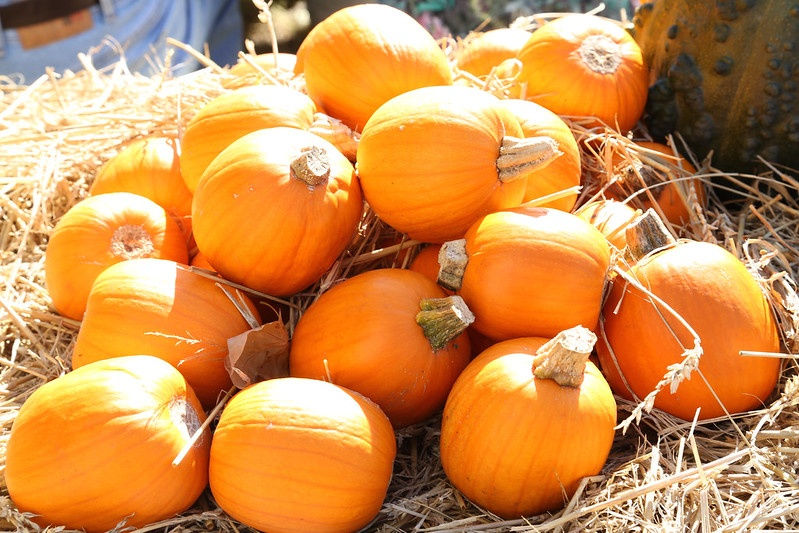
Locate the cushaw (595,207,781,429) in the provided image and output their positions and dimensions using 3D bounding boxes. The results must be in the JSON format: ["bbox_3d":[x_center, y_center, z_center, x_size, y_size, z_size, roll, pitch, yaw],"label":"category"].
[{"bbox_3d":[1.211,0.249,2.651,0.735,0.710,0.673,11,36,20],"label":"cushaw"}]

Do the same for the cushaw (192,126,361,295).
[{"bbox_3d":[-0.465,-0.259,2.915,0.664,0.636,0.650,33,21,-4],"label":"cushaw"}]

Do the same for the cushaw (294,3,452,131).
[{"bbox_3d":[-0.155,-0.922,3.047,0.528,0.372,0.663,49,23,10],"label":"cushaw"}]

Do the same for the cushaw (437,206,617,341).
[{"bbox_3d":[0.511,0.034,2.686,0.652,0.453,0.410,10,36,19],"label":"cushaw"}]

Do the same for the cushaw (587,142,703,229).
[{"bbox_3d":[1.268,-0.403,3.368,0.407,0.263,0.474,-7,52,-52],"label":"cushaw"}]
